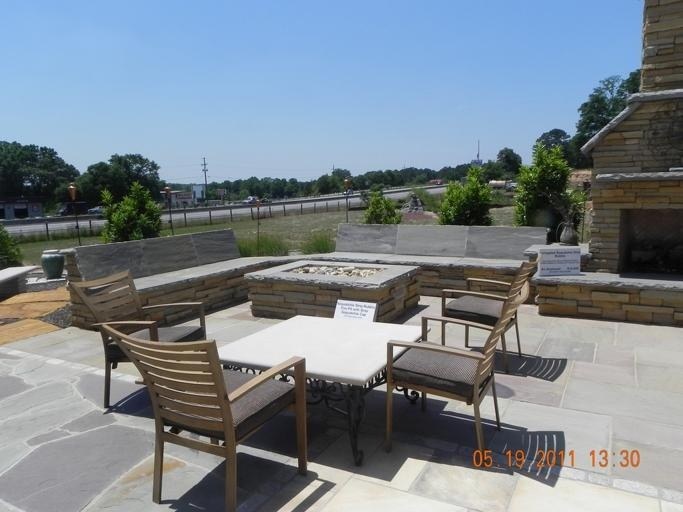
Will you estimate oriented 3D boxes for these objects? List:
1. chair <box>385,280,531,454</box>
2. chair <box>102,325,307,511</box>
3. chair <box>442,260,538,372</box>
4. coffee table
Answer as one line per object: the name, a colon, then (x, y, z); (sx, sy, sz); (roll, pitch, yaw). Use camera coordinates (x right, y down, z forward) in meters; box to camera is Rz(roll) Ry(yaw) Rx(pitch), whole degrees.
chair: (0.896, 0.864, 4.047); (1.420, 1.543, 1.132); (2, 4, 25)
chair: (-1.023, 1.016, 3.609); (1.248, 1.573, 1.406); (3, 9, 30)
chair: (1.738, 0.672, 5.103); (1.010, 1.129, 0.784); (0, 5, 30)
coffee table: (-0.205, 1.118, 3.834); (1.357, 0.566, 1.258); (2, 8, 25)
